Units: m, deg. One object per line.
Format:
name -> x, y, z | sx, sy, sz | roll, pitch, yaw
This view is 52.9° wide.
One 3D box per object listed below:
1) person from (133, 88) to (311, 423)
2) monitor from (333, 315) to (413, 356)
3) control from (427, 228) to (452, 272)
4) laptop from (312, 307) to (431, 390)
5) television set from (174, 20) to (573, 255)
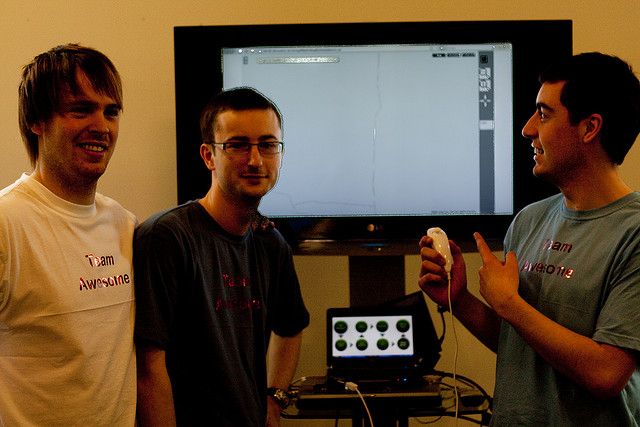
person -> -0.416, 0.207, 2.729 | 0.398, 1.458, 0.815 | 4, 8, 40
monitor -> 0.254, 0.582, 3.042 | 0.368, 0.170, 0.056 | -1, 6, 1
control -> 0.518, 0.150, 2.804 | 0.068, 0.057, 0.203 | -3, 51, -7
laptop -> 0.241, 0.606, 2.892 | 0.458, 0.327, 0.372 | -1, 1, 9
television set -> 0.258, -0.372, 3.210 | 1.803, 1.103, 0.137 | -1, -5, -4
